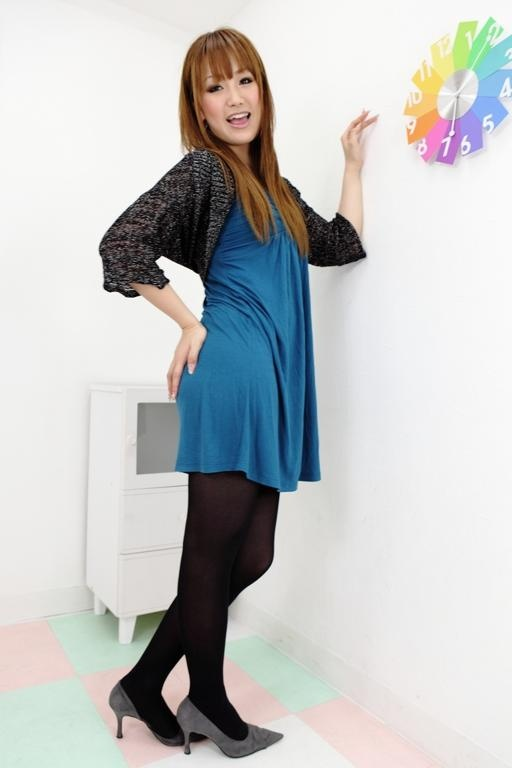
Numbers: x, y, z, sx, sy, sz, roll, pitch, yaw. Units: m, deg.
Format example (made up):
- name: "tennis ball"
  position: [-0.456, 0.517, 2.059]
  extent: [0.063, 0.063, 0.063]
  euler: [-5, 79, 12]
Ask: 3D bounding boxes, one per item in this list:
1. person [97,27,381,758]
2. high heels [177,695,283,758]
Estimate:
- name: "person"
  position: [-0.088, 0.012, 1.432]
  extent: [0.522, 1.652, 0.275]
  euler: [0, -1, -14]
- name: "high heels"
  position: [-0.076, 0.764, 1.438]
  extent: [0.285, 0.153, 0.101]
  euler: [3, -12, -9]
